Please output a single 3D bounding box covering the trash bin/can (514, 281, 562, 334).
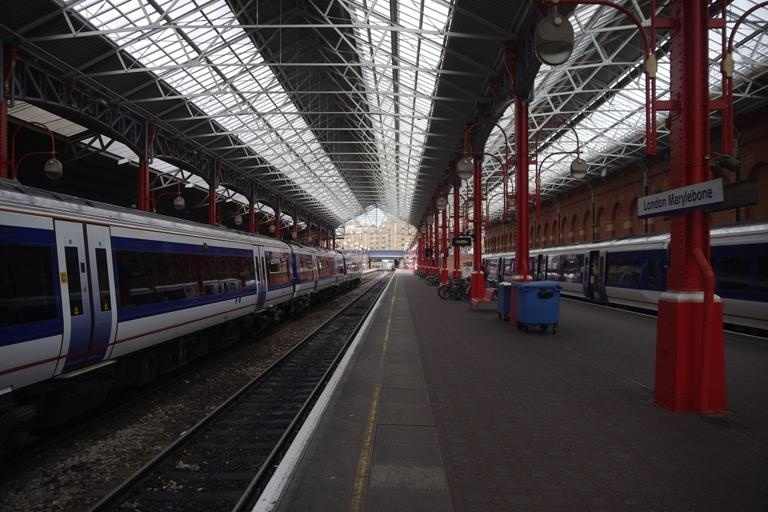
[{"bbox_3d":[5.004,1.640,17.399,1.361,1.780,0.994,1,11,18],"label":"trash bin/can"}]

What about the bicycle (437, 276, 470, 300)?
[{"bbox_3d":[3.961,1.874,30.362,1.876,1.192,0.951,0,2,16],"label":"bicycle"}]

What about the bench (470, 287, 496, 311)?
[{"bbox_3d":[4.559,2.071,23.945,0.930,0.934,1.366,-1,0,-8],"label":"bench"}]
